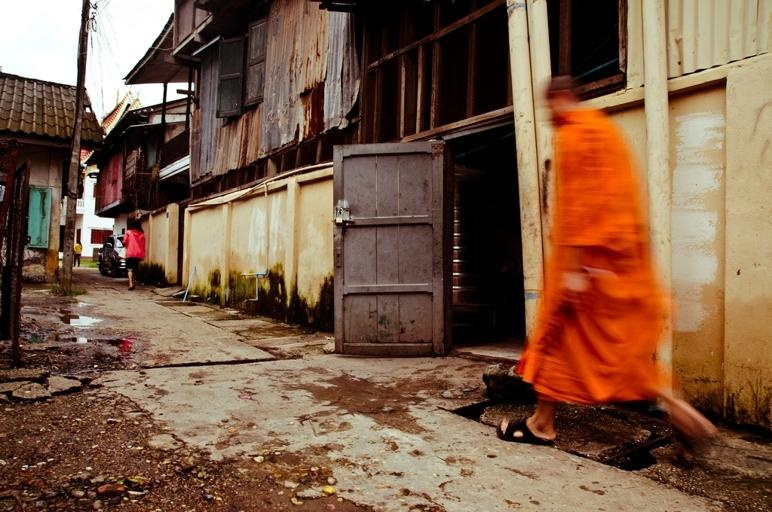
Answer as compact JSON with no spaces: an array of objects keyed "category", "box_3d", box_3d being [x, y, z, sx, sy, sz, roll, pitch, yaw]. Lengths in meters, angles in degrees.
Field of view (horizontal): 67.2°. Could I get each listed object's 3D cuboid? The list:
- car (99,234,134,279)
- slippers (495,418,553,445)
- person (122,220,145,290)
[{"category":"car","box_3d":[-9.782,0.049,21.642,1.554,1.211,2.760,2,-5,-32]},{"category":"slippers","box_3d":[1.107,1.403,4.662,0.417,0.110,0.180,3,-1,-13]},{"category":"person","box_3d":[-6.481,0.070,14.967,0.463,1.785,1.330,-5,15,-24]}]
